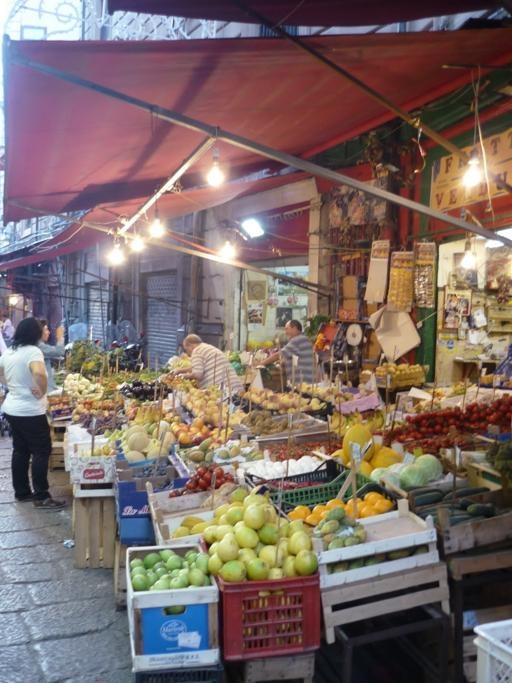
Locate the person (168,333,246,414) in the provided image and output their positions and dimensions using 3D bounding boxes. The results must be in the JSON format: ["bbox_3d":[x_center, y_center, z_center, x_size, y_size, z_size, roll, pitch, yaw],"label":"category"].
[{"bbox_3d":[-0.567,0.361,7.636,0.718,0.890,0.719,-5,8,-35],"label":"person"}]

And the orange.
[{"bbox_3d":[0.474,0.908,3.303,0.311,0.097,0.291,-8,-5,-16],"label":"orange"}]

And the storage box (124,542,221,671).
[{"bbox_3d":[-0.380,1.123,2.724,0.468,0.473,0.543,0,2,-11],"label":"storage box"}]

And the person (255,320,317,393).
[{"bbox_3d":[0.471,0.179,8.100,0.651,0.956,0.706,-1,6,-28],"label":"person"}]

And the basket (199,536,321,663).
[{"bbox_3d":[0.040,1.100,2.715,0.439,0.346,0.484,-1,8,-19],"label":"basket"}]

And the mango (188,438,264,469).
[{"bbox_3d":[-0.244,0.847,4.642,0.313,0.090,0.235,2,-5,-42],"label":"mango"}]
